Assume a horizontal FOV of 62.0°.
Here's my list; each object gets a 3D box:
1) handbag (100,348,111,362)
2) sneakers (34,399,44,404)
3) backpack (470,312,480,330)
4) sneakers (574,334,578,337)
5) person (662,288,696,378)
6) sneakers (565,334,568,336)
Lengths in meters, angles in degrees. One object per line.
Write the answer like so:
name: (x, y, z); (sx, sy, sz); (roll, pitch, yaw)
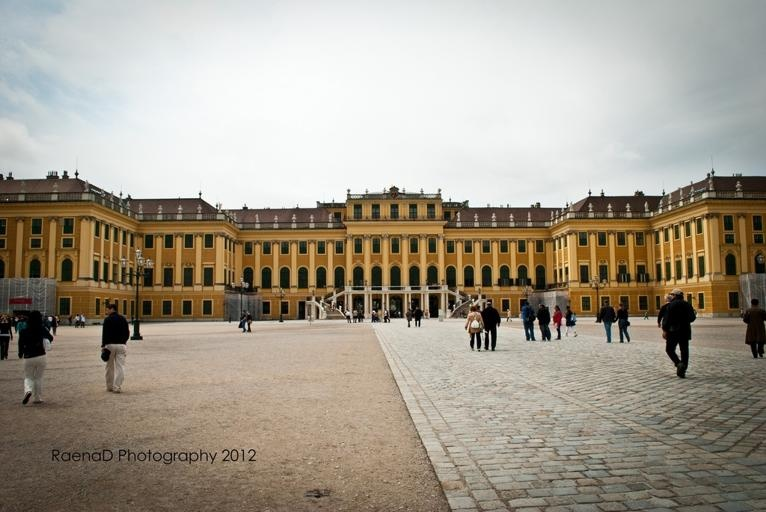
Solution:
handbag: (-6.771, 2.420, 15.535); (0.171, 0.333, 0.419); (3, -5, -34)
sneakers: (-7.606, 3.225, 14.076); (0.164, 0.077, 0.222); (2, -5, -22)
backpack: (3.524, 2.521, 24.453); (0.519, 0.727, 0.370); (4, -23, -2)
sneakers: (10.120, 4.198, 33.465); (0.126, 0.261, 0.382); (-7, -12, 17)
person: (7.663, 1.995, 16.503); (0.737, 2.206, 1.152); (-2, -5, 25)
sneakers: (9.643, 4.173, 33.379); (0.139, 0.159, 0.140); (-1, -2, -6)
